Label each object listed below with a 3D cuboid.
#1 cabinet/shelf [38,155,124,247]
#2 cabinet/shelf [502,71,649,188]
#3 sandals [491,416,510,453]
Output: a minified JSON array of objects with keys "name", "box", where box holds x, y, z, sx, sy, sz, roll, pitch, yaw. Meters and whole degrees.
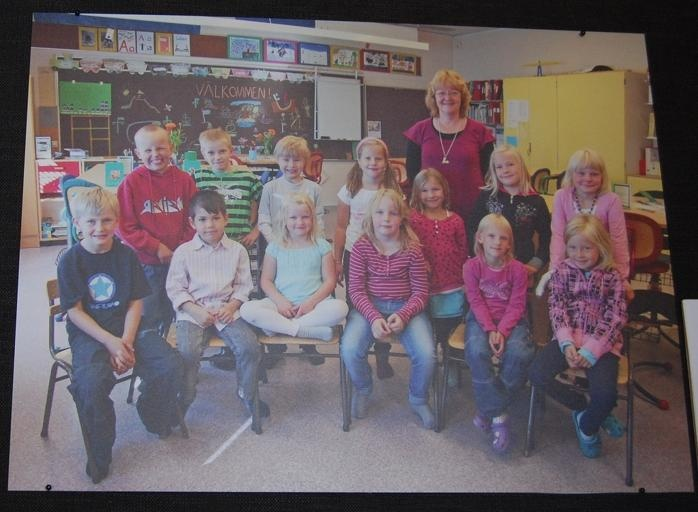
[{"name":"cabinet/shelf","box":[-1.275,-0.246,2.738,0.444,0.411,0.141,-2,1,-21]},{"name":"cabinet/shelf","box":[1.180,-0.647,3.064,0.656,0.611,0.230,1,4,11]},{"name":"sandals","box":[0.731,0.863,2.815,0.082,0.176,0.064,5,-17,-15]}]
